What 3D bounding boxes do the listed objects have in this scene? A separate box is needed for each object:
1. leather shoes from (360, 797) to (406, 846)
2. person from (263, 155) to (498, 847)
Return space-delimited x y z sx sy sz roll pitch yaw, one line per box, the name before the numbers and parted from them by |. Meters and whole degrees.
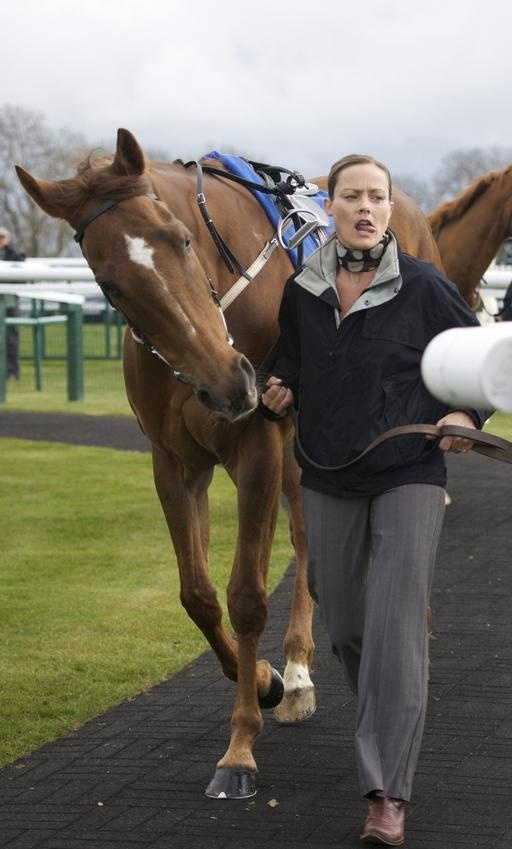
leather shoes | 0.310 0.964 2.529 0.067 0.106 0.164 2 -16 15
person | 0.324 0.153 2.780 0.424 1.729 0.684 -4 8 -22
